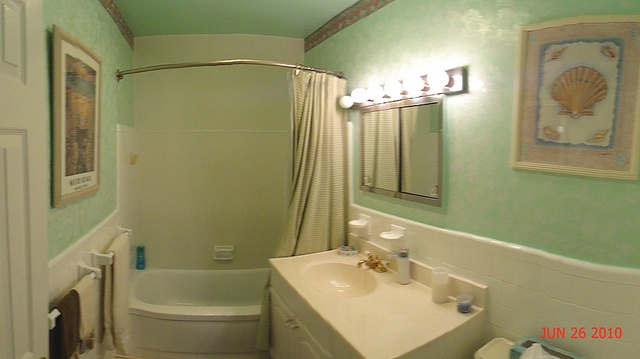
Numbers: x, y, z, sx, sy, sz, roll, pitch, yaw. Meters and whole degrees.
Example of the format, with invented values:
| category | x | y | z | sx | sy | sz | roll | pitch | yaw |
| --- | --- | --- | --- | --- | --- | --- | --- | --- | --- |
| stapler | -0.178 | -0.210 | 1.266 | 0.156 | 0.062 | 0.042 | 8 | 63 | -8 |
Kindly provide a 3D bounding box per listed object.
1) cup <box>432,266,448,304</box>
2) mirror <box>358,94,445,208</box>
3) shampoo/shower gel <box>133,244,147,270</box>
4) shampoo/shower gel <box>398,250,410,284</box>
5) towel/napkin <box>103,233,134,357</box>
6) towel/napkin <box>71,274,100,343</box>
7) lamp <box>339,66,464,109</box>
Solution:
| category | x | y | z | sx | sy | sz | roll | pitch | yaw |
| --- | --- | --- | --- | --- | --- | --- | --- | --- | --- |
| cup | 0.877 | 0.776 | 3.141 | 0.147 | 0.211 | 0.245 | -2 | -8 | 22 |
| mirror | 0.647 | -0.216 | 3.468 | 0.046 | 0.777 | 0.935 | -6 | 9 | -31 |
| shampoo/shower gel | -1.944 | 0.835 | 4.575 | 0.120 | 0.261 | 0.048 | -4 | 8 | -21 |
| shampoo/shower gel | 0.647 | 0.663 | 3.296 | 0.103 | 0.260 | 0.130 | 1 | 7 | 10 |
| towel/napkin | -1.648 | 0.924 | 3.428 | 0.158 | 0.904 | 0.429 | -3 | 8 | -15 |
| towel/napkin | -1.665 | 0.894 | 2.989 | 0.091 | 0.542 | 0.570 | 0 | 1 | -14 |
| lamp | 0.617 | -0.701 | 3.357 | 0.151 | 0.235 | 1.092 | -8 | 9 | -44 |
